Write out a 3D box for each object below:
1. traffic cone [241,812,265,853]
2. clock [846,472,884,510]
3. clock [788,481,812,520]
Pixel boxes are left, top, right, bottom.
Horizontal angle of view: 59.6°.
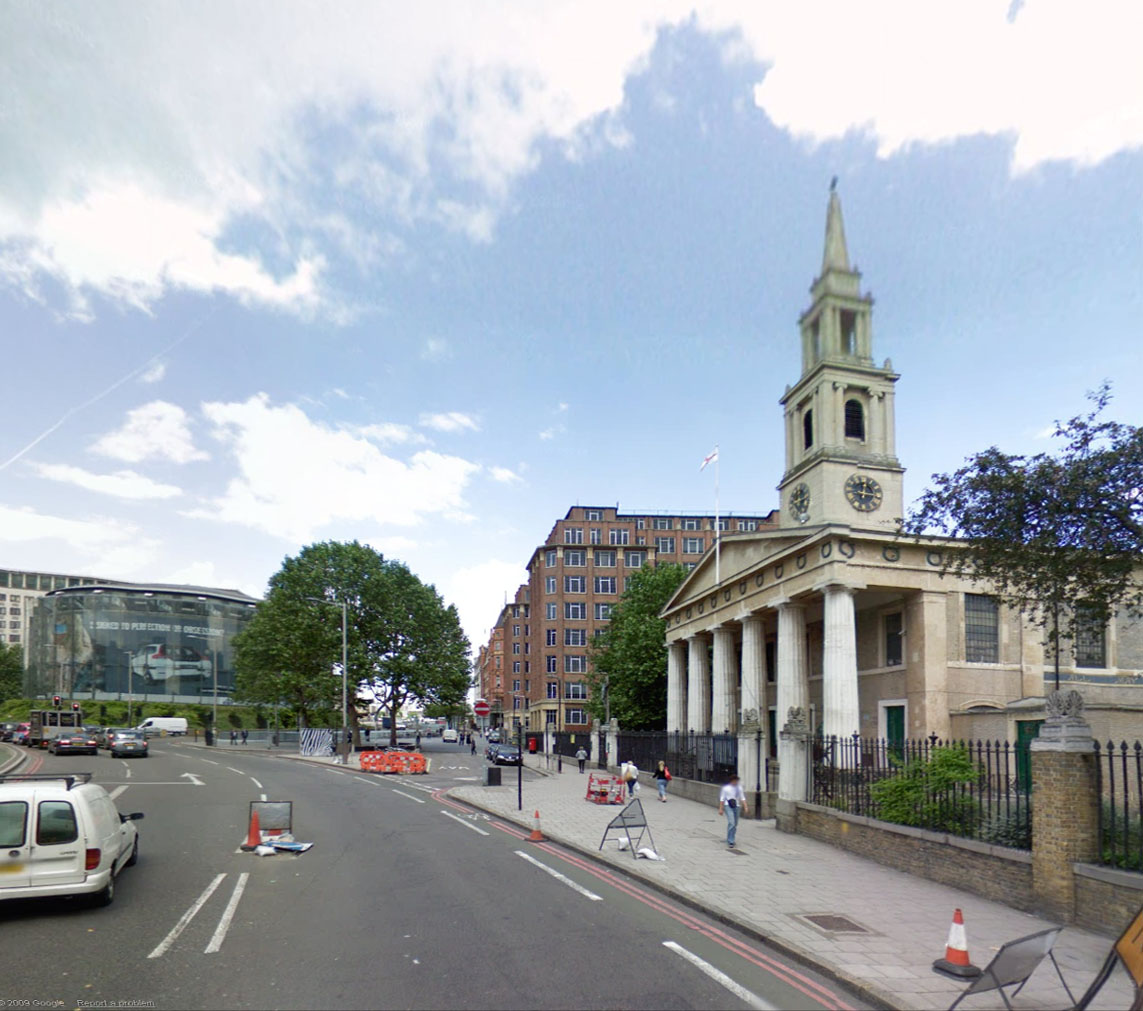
[{"bbox_3d":[-6.713,6.730,20.884,0.423,0.831,0.895,4,-14,-18],"label":"traffic cone"},{"bbox_3d":[12.826,-0.602,43.869,1.256,1.605,0.119,-1,-4,-5],"label":"clock"},{"bbox_3d":[10.461,-0.240,45.486,0.185,1.721,1.494,1,4,-15],"label":"clock"}]
